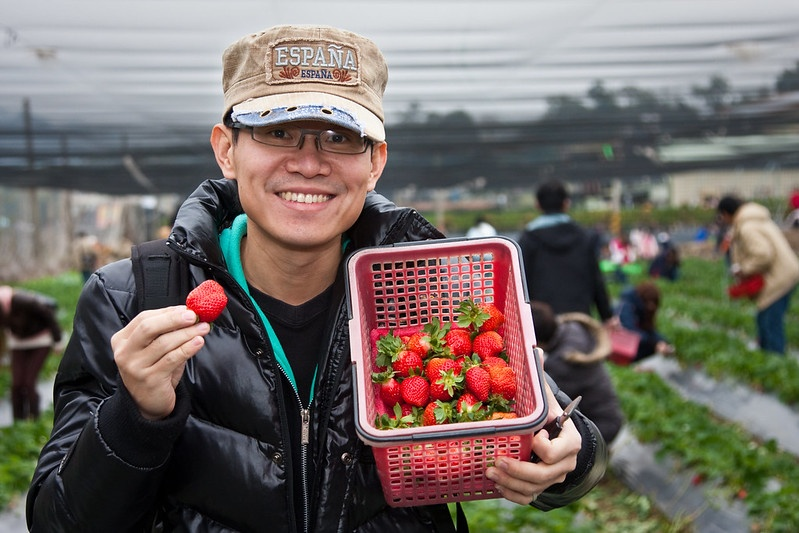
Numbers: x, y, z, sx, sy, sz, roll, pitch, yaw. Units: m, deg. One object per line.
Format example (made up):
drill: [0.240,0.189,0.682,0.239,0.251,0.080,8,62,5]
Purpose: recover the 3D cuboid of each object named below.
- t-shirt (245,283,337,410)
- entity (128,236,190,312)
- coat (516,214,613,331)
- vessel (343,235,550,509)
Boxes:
t-shirt: [-0.500,0.426,3.524,0.384,0.604,0.137,4,-13,-6]
entity: [-1.108,0.047,3.518,0.233,0.350,0.322,-7,-3,-14]
coat: [1.535,0.084,6.820,0.840,1.172,0.466,-9,7,9]
vessel: [0.211,0.577,3.709,0.887,1.305,0.709,-4,-24,-5]
